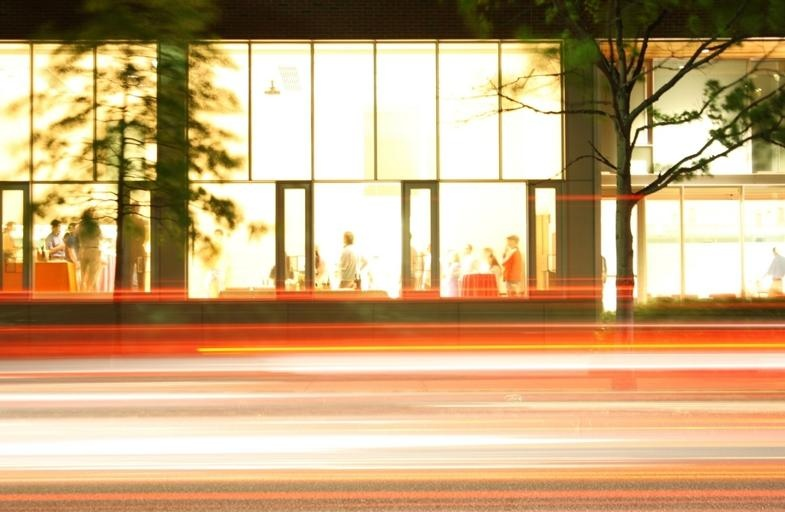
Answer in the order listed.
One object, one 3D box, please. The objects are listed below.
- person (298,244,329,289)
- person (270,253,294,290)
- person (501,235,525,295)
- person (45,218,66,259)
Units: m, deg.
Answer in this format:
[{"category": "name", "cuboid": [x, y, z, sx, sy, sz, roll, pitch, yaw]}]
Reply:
[{"category": "person", "cuboid": [-1.907, 0.331, 38.408, 0.877, 1.086, 0.343, 0, 0, 4]}, {"category": "person", "cuboid": [-3.015, 0.431, 38.122, 0.785, 1.312, 0.747, 0, -3, 5]}, {"category": "person", "cuboid": [3.250, 0.267, 38.167, 0.600, 1.542, 0.307, 0, -2, 3]}, {"category": "person", "cuboid": [-8.935, -0.332, 37.998, 0.580, 0.867, 0.274, 0, -2, 21]}]
